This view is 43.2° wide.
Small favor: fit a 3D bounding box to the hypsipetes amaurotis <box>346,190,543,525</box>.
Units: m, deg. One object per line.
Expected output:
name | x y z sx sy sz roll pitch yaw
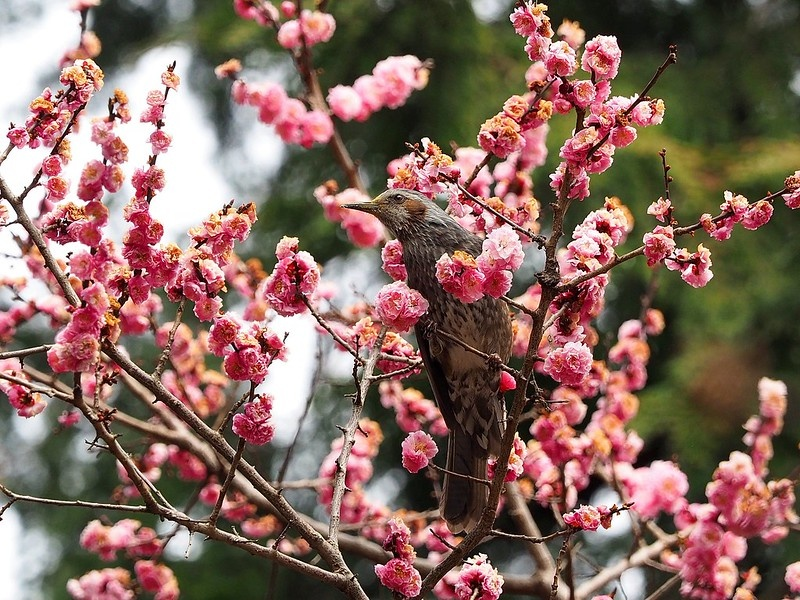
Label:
hypsipetes amaurotis | 0.293 0.537 5.678 0.613 0.676 2.242 -7 -63 43
